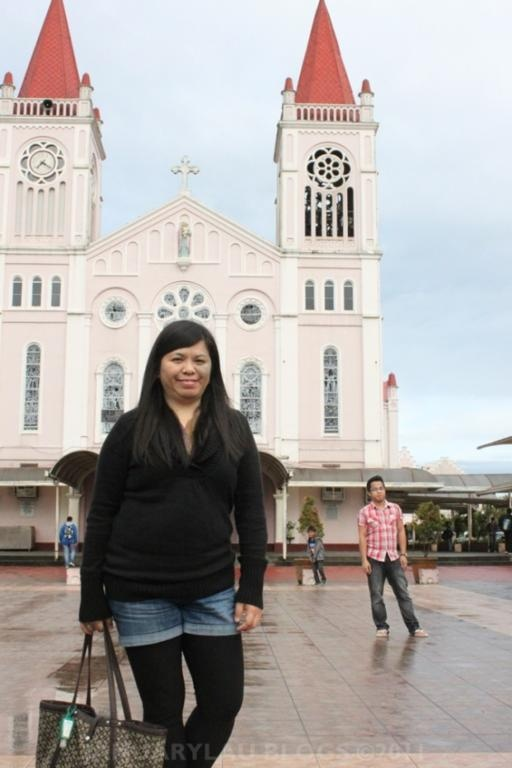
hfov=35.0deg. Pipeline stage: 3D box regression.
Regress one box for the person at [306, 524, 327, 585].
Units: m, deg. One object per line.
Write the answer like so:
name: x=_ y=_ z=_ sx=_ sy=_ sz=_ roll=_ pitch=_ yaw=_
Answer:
person: x=1.571 y=4.405 z=21.004 sx=0.545 sy=1.351 sz=1.914 roll=4 pitch=-7 yaw=5

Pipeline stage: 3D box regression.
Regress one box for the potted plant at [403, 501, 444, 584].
potted plant: x=6.288 y=5.746 z=29.832 sx=1.127 sy=2.747 sz=1.103 roll=7 pitch=-17 yaw=-26

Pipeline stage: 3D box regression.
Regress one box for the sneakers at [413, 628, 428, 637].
sneakers: x=1.949 y=2.958 z=9.652 sx=0.186 sy=0.087 sz=0.278 roll=4 pitch=-7 yaw=8
